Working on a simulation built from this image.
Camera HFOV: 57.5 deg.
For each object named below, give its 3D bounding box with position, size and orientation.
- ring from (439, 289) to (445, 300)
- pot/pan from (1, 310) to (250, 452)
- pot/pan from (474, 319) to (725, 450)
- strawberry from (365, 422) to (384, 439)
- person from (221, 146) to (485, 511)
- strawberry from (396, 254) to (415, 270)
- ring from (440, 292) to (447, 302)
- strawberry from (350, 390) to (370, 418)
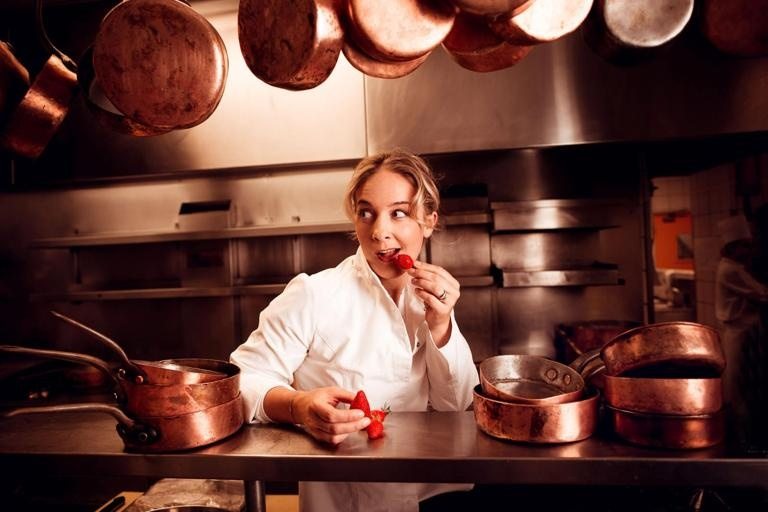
[{"bbox_3d":[0.271,0.181,3.321,0.035,0.034,0.028,19,-32,13],"label":"ring"},{"bbox_3d":[-1.147,0.521,3.122,0.935,0.646,0.563,4,-6,-29],"label":"pot/pan"},{"bbox_3d":[0.947,0.525,3.038,0.881,0.399,0.548,-2,-8,14],"label":"pot/pan"},{"bbox_3d":[-0.032,0.752,3.052,0.090,0.084,0.053,1,-4,-23],"label":"strawberry"},{"bbox_3d":[-0.090,0.350,3.414,1.194,1.772,0.712,0,-4,-13],"label":"person"},{"bbox_3d":[0.103,0.026,3.319,0.088,0.079,0.138,-1,-4,1],"label":"strawberry"},{"bbox_3d":[0.280,0.193,3.294,0.026,0.035,0.036,3,-41,7],"label":"ring"},{"bbox_3d":[-0.103,0.647,3.078,0.106,0.079,0.069,36,-22,6],"label":"strawberry"}]
